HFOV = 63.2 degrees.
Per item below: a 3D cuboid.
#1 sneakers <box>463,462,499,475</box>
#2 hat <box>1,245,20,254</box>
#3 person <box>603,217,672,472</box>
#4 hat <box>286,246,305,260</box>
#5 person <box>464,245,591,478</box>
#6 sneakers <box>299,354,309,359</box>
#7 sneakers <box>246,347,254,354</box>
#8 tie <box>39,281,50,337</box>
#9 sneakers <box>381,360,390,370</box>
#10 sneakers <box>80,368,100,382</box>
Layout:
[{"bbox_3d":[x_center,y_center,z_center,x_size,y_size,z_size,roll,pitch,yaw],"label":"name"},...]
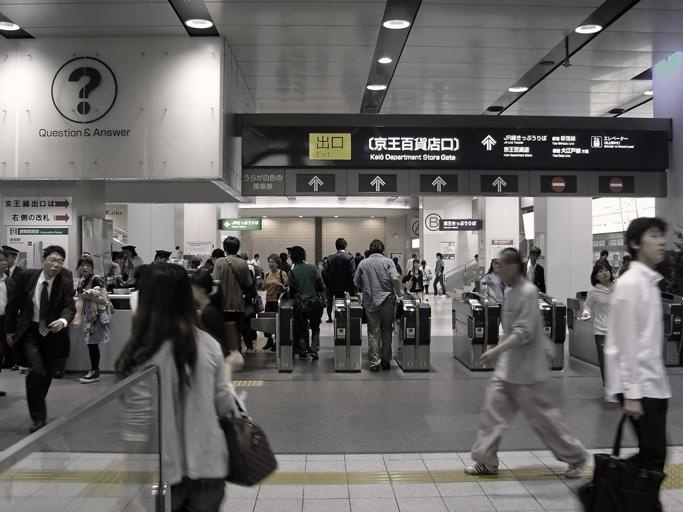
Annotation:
[{"bbox_3d":[1.159,1.785,4.626,0.267,0.124,0.108,4,-5,5],"label":"sneakers"},{"bbox_3d":[-4.396,-0.087,7.415,0.236,0.093,0.183,8,0,-42],"label":"hat"},{"bbox_3d":[1.883,0.535,3.536,0.417,1.587,0.337,-1,1,-42],"label":"person"},{"bbox_3d":[-0.790,-0.086,9.225,0.315,0.164,0.197,26,14,9],"label":"hat"},{"bbox_3d":[1.493,0.877,4.555,0.903,1.892,0.435,0,1,-2],"label":"person"},{"bbox_3d":[-0.634,1.710,9.450,0.088,0.087,0.124,1,-2,14],"label":"sneakers"},{"bbox_3d":[-1.651,1.714,10.034,0.138,0.097,0.074,-5,-1,6],"label":"sneakers"},{"bbox_3d":[-3.074,0.540,5.758,0.093,0.551,0.150,0,1,-29],"label":"tie"},{"bbox_3d":[0.693,1.709,8.674,0.117,0.134,0.136,-3,-7,34],"label":"sneakers"},{"bbox_3d":[-3.506,1.666,7.769,0.280,0.156,0.317,-1,1,-35],"label":"sneakers"}]
